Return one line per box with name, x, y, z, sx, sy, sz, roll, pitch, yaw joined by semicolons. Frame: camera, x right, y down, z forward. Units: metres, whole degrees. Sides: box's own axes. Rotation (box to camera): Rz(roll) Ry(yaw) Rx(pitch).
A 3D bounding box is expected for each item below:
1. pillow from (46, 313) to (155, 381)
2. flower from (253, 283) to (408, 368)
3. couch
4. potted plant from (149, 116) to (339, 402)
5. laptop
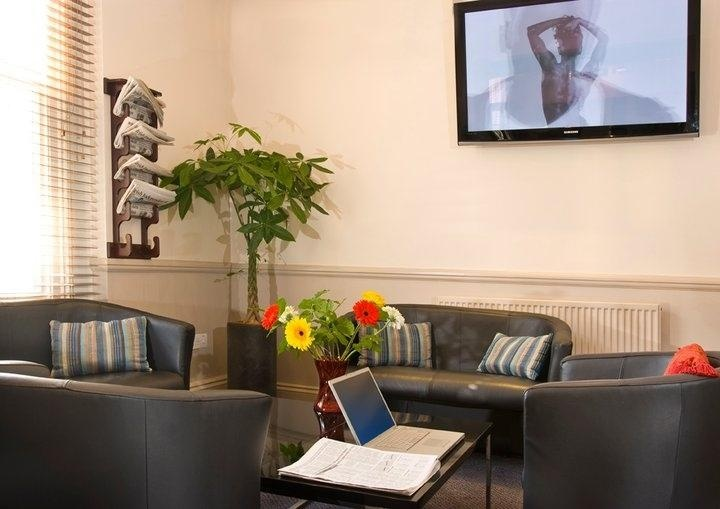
pillow;-1.526;0.552;3.368;0.524;0.327;0.130;2;-10;-38
flower;-0.071;0.374;2.868;0.593;0.271;0.611;5;-5;-14
couch;0.583;0.790;3.789;1.519;0.827;0.741;1;0;25
potted plant;-0.981;0.183;4.663;1.533;2.118;1.079;-3;0;30
laptop;0.115;0.654;2.516;0.386;0.236;0.379;0;1;22
